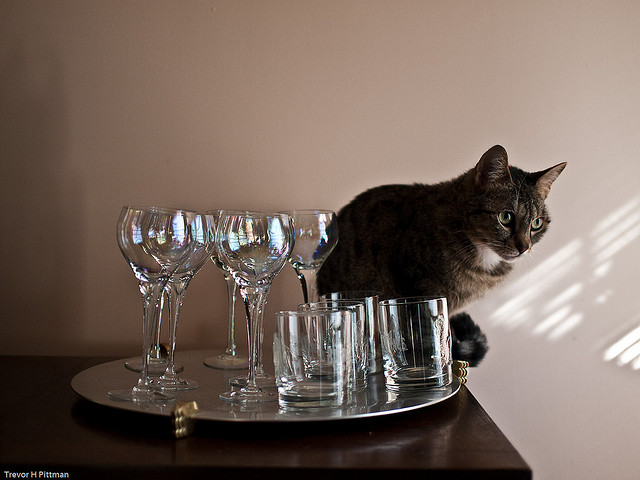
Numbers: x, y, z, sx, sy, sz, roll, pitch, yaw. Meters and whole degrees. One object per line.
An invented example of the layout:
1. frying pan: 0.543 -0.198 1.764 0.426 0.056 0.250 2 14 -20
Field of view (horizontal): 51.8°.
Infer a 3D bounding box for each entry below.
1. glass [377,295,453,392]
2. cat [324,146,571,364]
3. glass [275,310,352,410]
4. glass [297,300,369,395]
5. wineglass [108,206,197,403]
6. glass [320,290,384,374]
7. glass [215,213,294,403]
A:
1. glass: 0.206 0.219 1.423 0.152 0.200 0.167 -4 -3 -9
2. cat: 0.316 0.033 1.864 0.705 0.630 0.399 4 3 20
3. glass: -0.011 0.230 1.266 0.145 0.181 0.072 -1 13 -2
4. glass: 0.030 0.235 1.389 0.151 0.192 0.157 -1 -15 -4
5. wineglass: -0.333 0.130 1.330 0.161 0.390 0.207 3 13 12
6. glass: 0.065 0.223 1.470 0.133 0.169 0.135 2 -4 -31
7. glass: -0.133 0.132 1.306 0.151 0.361 0.137 1 13 6
